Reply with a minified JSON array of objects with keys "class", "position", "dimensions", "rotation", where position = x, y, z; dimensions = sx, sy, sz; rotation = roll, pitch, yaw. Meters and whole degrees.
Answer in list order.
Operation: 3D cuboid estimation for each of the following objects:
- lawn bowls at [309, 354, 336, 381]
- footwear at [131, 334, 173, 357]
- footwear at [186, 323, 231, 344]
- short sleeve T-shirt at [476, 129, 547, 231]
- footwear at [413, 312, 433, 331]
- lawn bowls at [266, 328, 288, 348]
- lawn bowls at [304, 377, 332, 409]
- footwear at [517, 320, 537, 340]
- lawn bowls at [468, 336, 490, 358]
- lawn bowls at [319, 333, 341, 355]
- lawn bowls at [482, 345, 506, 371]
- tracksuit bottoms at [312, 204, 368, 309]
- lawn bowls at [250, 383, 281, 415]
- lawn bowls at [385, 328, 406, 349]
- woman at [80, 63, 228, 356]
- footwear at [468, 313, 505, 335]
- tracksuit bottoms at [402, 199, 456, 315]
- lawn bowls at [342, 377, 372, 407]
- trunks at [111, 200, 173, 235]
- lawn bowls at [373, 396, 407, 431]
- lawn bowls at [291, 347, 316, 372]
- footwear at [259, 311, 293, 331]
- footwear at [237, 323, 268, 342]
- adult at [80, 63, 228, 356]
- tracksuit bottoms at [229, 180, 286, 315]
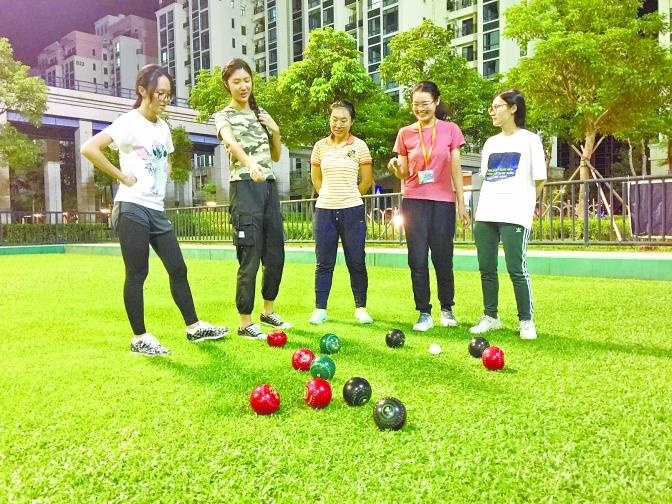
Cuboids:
[{"class":"lawn bowls","position":[-0.076,0.712,3.357],"dimensions":[0.115,0.148,0.129],"rotation":[3,0,7]},{"class":"footwear","position":[-1.344,0.671,3.925],"dimensions":[0.317,0.148,0.122],"rotation":[3,4,12]},{"class":"footwear","position":[-1.010,0.625,4.276],"dimensions":[0.331,0.178,0.136],"rotation":[-5,7,-15]},{"class":"short sleeve T-shirt","position":[1.395,-0.579,4.359],"dimensions":[0.530,0.796,0.324],"rotation":[3,10,24]},{"class":"footwear","position":[0.713,0.581,4.483],"dimensions":[0.129,0.128,0.236],"rotation":[5,12,34]},{"class":"lawn bowls","position":[-0.452,0.649,4.066],"dimensions":[0.161,0.104,0.172],"rotation":[-1,10,0]},{"class":"lawn bowls","position":[-0.102,0.776,2.973],"dimensions":[0.129,0.151,0.142],"rotation":[-1,1,0]},{"class":"footwear","position":[1.464,0.592,4.132],"dimensions":[0.123,0.118,0.182],"rotation":[2,10,18]},{"class":"lawn bowls","position":[0.959,0.636,3.718],"dimensions":[0.124,0.151,0.126],"rotation":[23,10,-4]},{"class":"lawn bowls","position":[-0.044,0.655,3.839],"dimensions":[0.151,0.124,0.117],"rotation":[-1,9,-1]},{"class":"lawn bowls","position":[1.009,0.682,3.460],"dimensions":[0.154,0.131,0.119],"rotation":[0,9,5]},{"class":"tracksuit bottoms","position":[0.033,0.066,4.878],"dimensions":[0.467,0.959,0.376],"rotation":[-1,9,0]},{"class":"lawn bowls","position":[-0.385,0.797,2.927],"dimensions":[0.172,0.144,0.129],"rotation":[-3,10,-9]},{"class":"lawn bowls","position":[0.428,0.631,3.950],"dimensions":[0.145,0.110,0.154],"rotation":[-1,10,0]},{"class":"woman","position":[-1.381,-0.313,3.964],"dimensions":[0.495,2.072,0.762],"rotation":[7,12,43]},{"class":"footwear","position":[1.208,0.576,4.371],"dimensions":[0.273,0.135,0.111],"rotation":[-6,3,-32]},{"class":"tracksuit bottoms","position":[0.774,0.035,4.567],"dimensions":[0.418,0.942,0.247],"rotation":[0,9,8]},{"class":"lawn bowls","position":[0.109,0.782,3.061],"dimensions":[0.143,0.148,0.146],"rotation":[-25,37,21]},{"class":"trunks","position":[-1.441,-0.261,4.044],"dimensions":[0.422,0.257,0.227],"rotation":[-6,11,-26]},{"class":"lawn bowls","position":[0.276,0.823,2.758],"dimensions":[0.175,0.133,0.121],"rotation":[-1,9,2]},{"class":"lawn bowls","position":[-0.214,0.701,3.522],"dimensions":[0.121,0.156,0.126],"rotation":[7,-4,1]},{"class":"footwear","position":[-0.529,0.582,4.676],"dimensions":[0.307,0.133,0.110],"rotation":[9,7,20]},{"class":"footwear","position":[-0.674,0.635,4.318],"dimensions":[0.221,0.101,0.205],"rotation":[-3,10,-9]},{"class":"adult","position":[-1.381,-0.313,3.961],"dimensions":[0.500,2.072,0.747],"rotation":[7,12,42]},{"class":"tracksuit bottoms","position":[-0.637,-0.039,4.488],"dimensions":[0.474,1.129,0.307],"rotation":[-6,10,-28]}]
